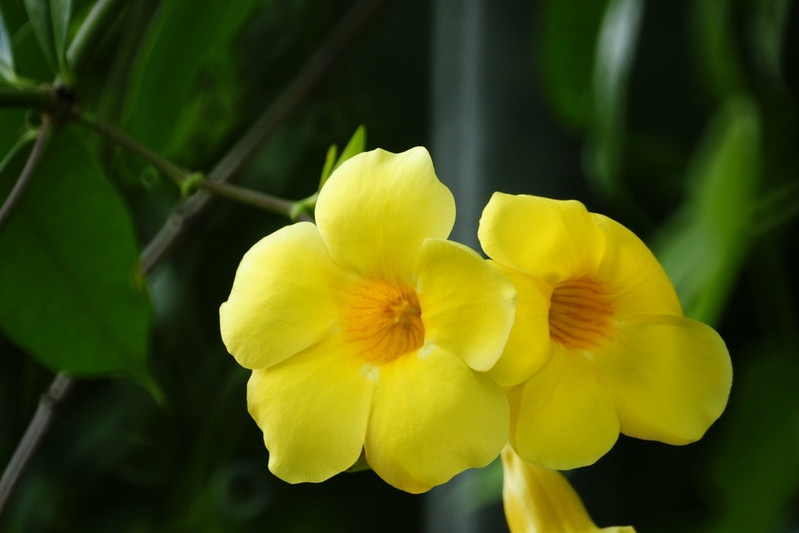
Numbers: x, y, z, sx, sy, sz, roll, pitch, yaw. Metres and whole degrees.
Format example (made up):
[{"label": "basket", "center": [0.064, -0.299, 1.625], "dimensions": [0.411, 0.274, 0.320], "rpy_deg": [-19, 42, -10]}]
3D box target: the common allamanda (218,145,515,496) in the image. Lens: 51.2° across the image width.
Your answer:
[{"label": "common allamanda", "center": [-0.029, 0.041, 0.679], "dimensions": [0.241, 0.232, 0.150], "rpy_deg": [2, 30, 6]}]
